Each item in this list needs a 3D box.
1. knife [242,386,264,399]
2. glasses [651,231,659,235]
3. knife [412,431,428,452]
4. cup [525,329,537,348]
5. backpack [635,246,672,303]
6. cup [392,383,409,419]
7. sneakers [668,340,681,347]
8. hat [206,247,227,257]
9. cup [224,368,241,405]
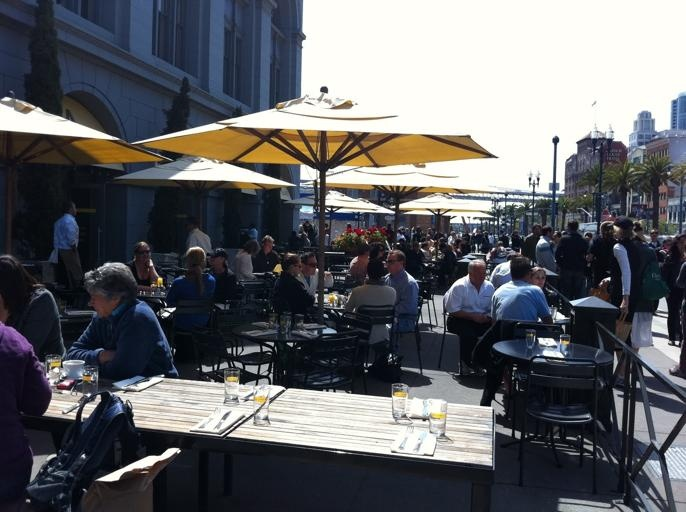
[{"bbox_3d":[-0.882,1.350,7.390,0.138,0.071,0.445,1,1,2],"label":"knife"},{"bbox_3d":[8.162,-0.598,19.929,0.093,0.057,0.114,-2,-7,13],"label":"glasses"},{"bbox_3d":[0.679,1.641,6.659,0.046,0.032,0.345,1,15,12],"label":"knife"},{"bbox_3d":[2.297,1.039,9.377,0.163,0.333,0.171,-2,2,0],"label":"cup"},{"bbox_3d":[4.899,0.354,12.005,0.377,0.803,0.516,-3,6,32],"label":"backpack"},{"bbox_3d":[0.536,1.374,7.241,0.145,0.332,0.353,-1,4,2],"label":"cup"},{"bbox_3d":[6.347,1.709,14.641,0.108,0.146,0.320,0,-3,-2],"label":"sneakers"},{"bbox_3d":[-2.136,-0.069,12.829,0.353,0.201,0.271,5,-7,-11],"label":"hat"},{"bbox_3d":[-1.089,1.266,7.362,0.143,0.322,0.209,-2,4,-11],"label":"cup"}]
